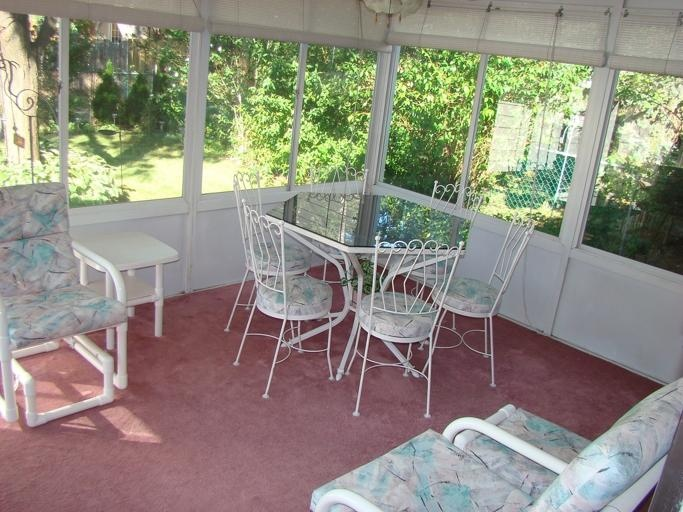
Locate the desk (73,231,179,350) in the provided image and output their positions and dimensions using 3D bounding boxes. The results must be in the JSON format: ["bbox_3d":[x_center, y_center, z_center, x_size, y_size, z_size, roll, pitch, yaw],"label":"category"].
[{"bbox_3d":[-1.613,0.185,4.047,0.789,0.839,0.867,-5,24,-33],"label":"desk"}]
